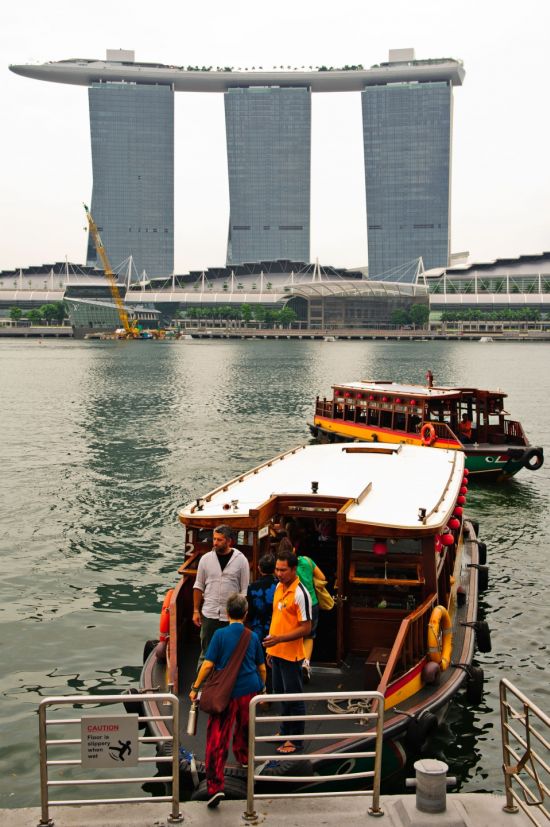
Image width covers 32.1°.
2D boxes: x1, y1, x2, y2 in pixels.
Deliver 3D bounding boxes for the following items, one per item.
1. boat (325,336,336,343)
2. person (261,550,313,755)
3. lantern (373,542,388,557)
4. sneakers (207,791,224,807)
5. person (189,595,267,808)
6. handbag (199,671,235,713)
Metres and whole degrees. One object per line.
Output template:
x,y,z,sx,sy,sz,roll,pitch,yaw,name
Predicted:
12.618,-17.377,223.735,2.046,1.180,2.387,0,8,7,boat
0.127,2.723,10.987,0.526,2.315,0.920,0,6,0,person
1.415,1.847,13.166,0.196,0.182,0.189,-8,18,-31,lantern
-0.581,3.709,9.171,0.083,0.209,0.085,13,33,-26,sneakers
-0.444,2.964,9.739,0.697,1.769,0.585,-3,6,-21,person
-0.589,2.781,9.543,0.321,0.439,0.235,2,6,23,handbag
